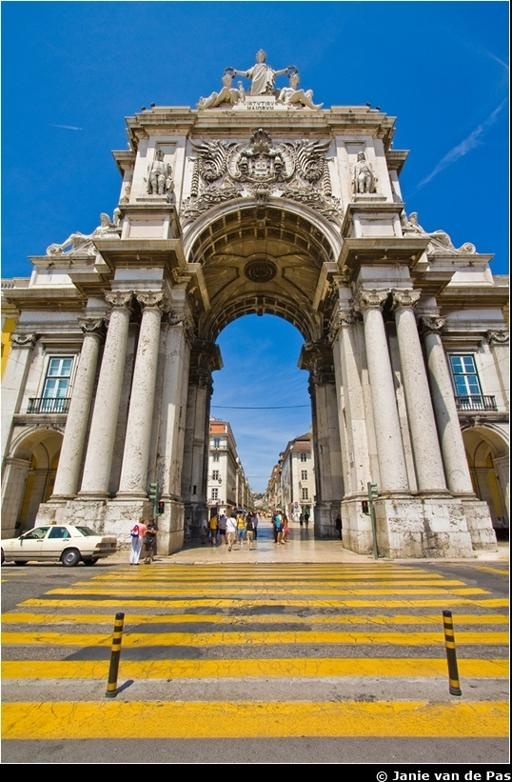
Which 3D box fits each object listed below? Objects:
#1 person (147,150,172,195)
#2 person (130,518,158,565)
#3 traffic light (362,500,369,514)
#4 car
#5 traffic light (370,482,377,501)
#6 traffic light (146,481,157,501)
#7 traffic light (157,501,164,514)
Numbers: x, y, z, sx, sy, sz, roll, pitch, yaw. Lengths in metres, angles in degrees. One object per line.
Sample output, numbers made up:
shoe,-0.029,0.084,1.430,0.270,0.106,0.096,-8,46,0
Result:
person,-3.935,-8.531,19.492,0.986,2.179,0.629,10,-28,-19
person,-3.135,4.199,13.188,0.550,1.305,0.993,1,-26,-3
traffic light,3.442,3.763,15.157,0.167,0.402,0.350,-1,-26,3
car,-5.368,4.194,12.835,2.781,0.829,1.250,1,-25,3
traffic light,3.482,3.113,14.322,0.231,0.489,0.485,-4,-26,8
traffic light,-3.217,3.189,14.770,0.263,0.515,0.582,4,-26,-8
traffic light,-3.064,3.765,15.184,0.111,0.405,0.293,-10,-28,19
